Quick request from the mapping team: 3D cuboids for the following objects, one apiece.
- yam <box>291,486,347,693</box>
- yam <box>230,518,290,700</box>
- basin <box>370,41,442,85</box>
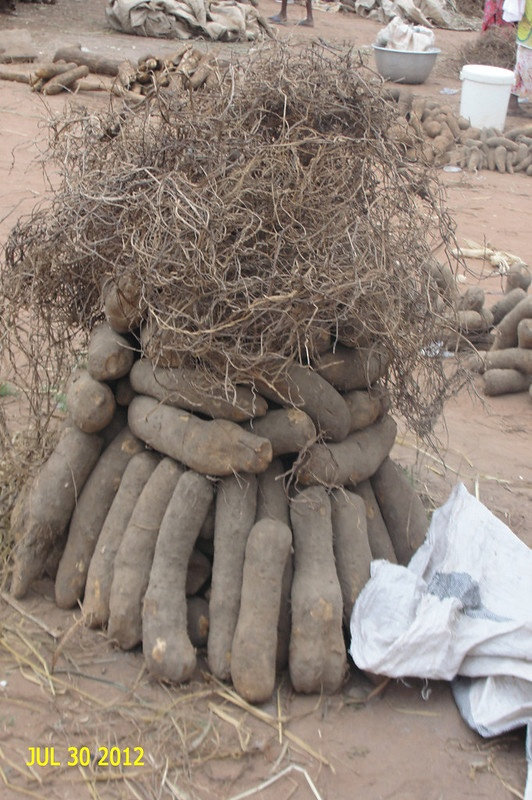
[{"bbox_3d":[0.140,0.494,1.811,0.133,0.127,0.511,-18,57,37],"label":"yam"},{"bbox_3d":[-0.014,0.524,1.735,0.109,0.118,0.456,1,71,17],"label":"yam"},{"bbox_3d":[2.041,-4.913,9.967,1.196,0.502,0.542,-18,38,-29],"label":"basin"}]
